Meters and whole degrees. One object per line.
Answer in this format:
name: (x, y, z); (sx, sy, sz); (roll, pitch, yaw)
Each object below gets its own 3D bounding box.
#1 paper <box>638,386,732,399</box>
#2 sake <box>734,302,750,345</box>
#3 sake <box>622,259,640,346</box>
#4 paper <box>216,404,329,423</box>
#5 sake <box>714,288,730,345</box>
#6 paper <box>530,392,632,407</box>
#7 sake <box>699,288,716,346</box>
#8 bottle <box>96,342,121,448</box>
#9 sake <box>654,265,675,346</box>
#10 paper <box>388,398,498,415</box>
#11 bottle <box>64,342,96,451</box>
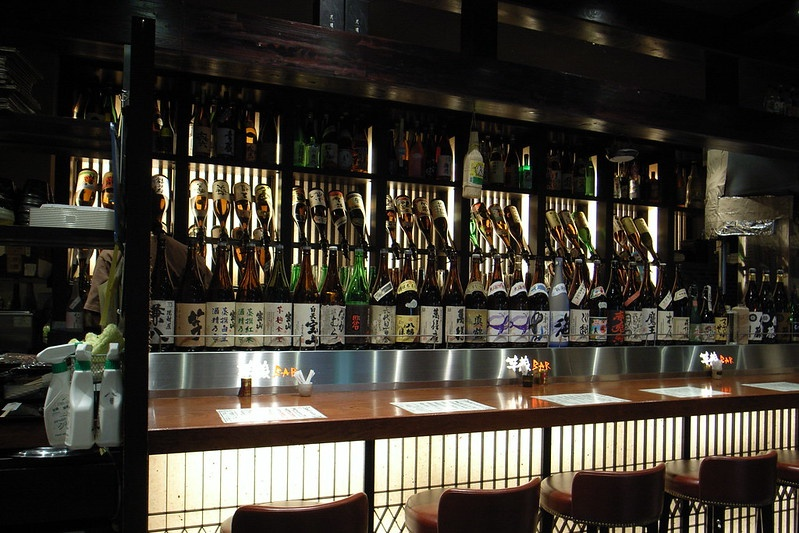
paper: (1.356, 0.583, 3.411); (0.393, 0.025, 0.271); (2, -4, -23)
sake: (1.941, 0.329, 4.115); (0.088, 0.212, 0.257); (-1, -4, 25)
sake: (1.279, 0.198, 3.978); (0.087, 0.433, 0.388); (0, -4, 17)
paper: (-0.508, 0.582, 2.877); (0.404, 0.035, 0.240); (2, -4, -16)
sake: (1.817, 0.274, 4.140); (0.109, 0.319, 0.107); (1, -1, 25)
paper: (0.801, 0.586, 3.233); (0.377, 0.030, 0.247); (2, -4, -15)
sake: (1.762, 0.267, 4.153); (0.085, 0.319, 0.315); (-1, -4, 22)
bottle: (-0.991, 0.436, 2.496); (0.081, 0.347, 0.044); (2, -4, -17)
sake: (1.452, 0.204, 3.964); (0.089, 0.411, 0.243); (0, -4, 20)
paper: (0.182, 0.582, 3.050); (0.397, 0.033, 0.219); (2, -4, -15)
bottle: (-1.098, 0.450, 2.517); (0.091, 0.369, 0.103); (3, -4, -23)
